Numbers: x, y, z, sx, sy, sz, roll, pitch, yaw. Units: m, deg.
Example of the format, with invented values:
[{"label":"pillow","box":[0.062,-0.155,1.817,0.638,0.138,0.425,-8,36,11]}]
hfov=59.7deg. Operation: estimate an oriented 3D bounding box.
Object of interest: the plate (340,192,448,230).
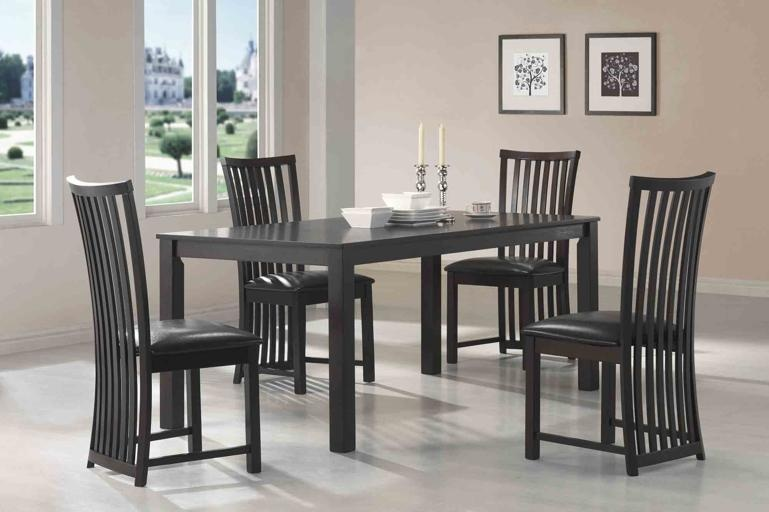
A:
[{"label":"plate","box":[0.087,-0.236,3.601,0.273,0.113,0.411,5,8,43]}]

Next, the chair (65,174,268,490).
[{"label":"chair","box":[-0.873,0.290,2.722,0.708,1.197,0.426,-3,12,-17]}]

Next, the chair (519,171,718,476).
[{"label":"chair","box":[1.032,0.275,3.012,0.815,1.132,0.757,1,-3,-17]}]

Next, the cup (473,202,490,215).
[{"label":"cup","box":[0.569,-0.269,3.928,0.120,0.064,0.112,0,4,0]}]
